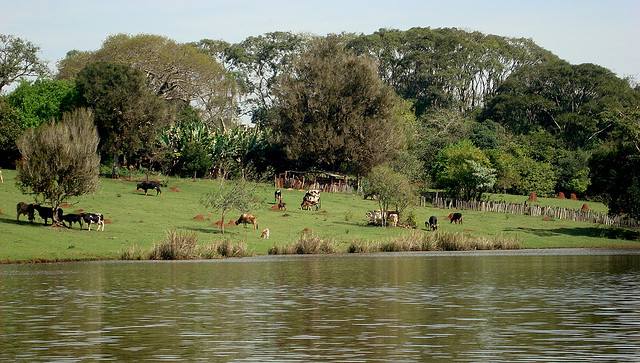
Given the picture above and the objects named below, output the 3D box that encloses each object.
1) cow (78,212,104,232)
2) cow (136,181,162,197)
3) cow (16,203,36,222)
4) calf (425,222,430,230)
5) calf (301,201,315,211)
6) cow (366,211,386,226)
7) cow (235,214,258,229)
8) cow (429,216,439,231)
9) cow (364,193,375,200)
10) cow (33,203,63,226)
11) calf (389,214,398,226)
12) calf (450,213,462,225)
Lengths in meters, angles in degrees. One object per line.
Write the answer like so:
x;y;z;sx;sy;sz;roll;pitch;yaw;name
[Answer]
-27.994;4.737;122.073;3.059;2.004;2.419;1;13;-10;cow
-23.862;0.842;139.471;3.599;1.768;2.045;7;14;19;cow
-36.019;3.677;121.943;2.215;2.221;1.747;1;13;-7;cow
14.707;5.899;137.193;0.489;0.641;0.188;19;28;40;calf
-1.825;3.286;142.687;1.706;1.112;2.006;3;13;-1;calf
7.625;4.488;137.514;1.713;1.866;5.343;1;13;-11;cow
-9.457;4.986;129.770;3.098;1.774;2.340;4;13;4;cow
15.458;5.429;136.194;1.098;1.849;3.109;5;13;7;cow
6.920;1.982;139.235;1.264;0.541;1.192;-1;-7;1;cow
-33.876;3.989;122.028;2.257;2.328;1.977;-1;14;-16;cow
9.871;5.076;135.409;1.891;1.553;0.431;1;-4;-10;calf
19.129;5.053;140.430;1.570;1.486;1.279;4;13;6;calf
